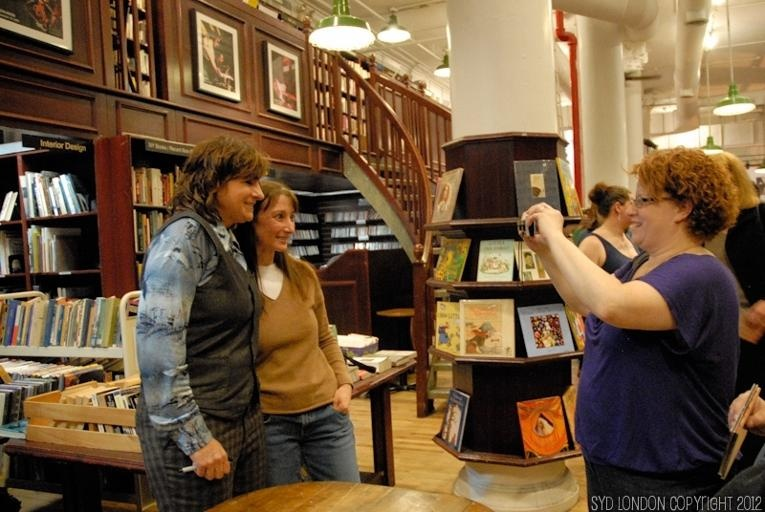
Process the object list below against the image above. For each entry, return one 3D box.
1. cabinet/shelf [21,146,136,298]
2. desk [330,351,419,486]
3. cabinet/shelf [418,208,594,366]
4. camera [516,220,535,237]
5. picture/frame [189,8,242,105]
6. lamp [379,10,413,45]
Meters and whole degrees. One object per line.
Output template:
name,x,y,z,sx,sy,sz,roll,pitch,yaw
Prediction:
cabinet/shelf,-2.935,-0.350,5.533,1.669,1.516,0.526,-1,-1,27
desk,0.001,1.122,3.897,0.829,0.736,0.805,-2,-2,13
cabinet/shelf,0.782,0.209,3.858,1.001,0.780,0.966,-1,-3,6
camera,0.661,-0.125,2.574,0.083,0.107,0.041,-3,7,0
picture/frame,-1.854,-2.250,6.428,0.074,0.908,0.686,-6,-1,28
lamp,0.160,-3.411,8.340,0.351,0.467,0.331,-5,-1,-43
